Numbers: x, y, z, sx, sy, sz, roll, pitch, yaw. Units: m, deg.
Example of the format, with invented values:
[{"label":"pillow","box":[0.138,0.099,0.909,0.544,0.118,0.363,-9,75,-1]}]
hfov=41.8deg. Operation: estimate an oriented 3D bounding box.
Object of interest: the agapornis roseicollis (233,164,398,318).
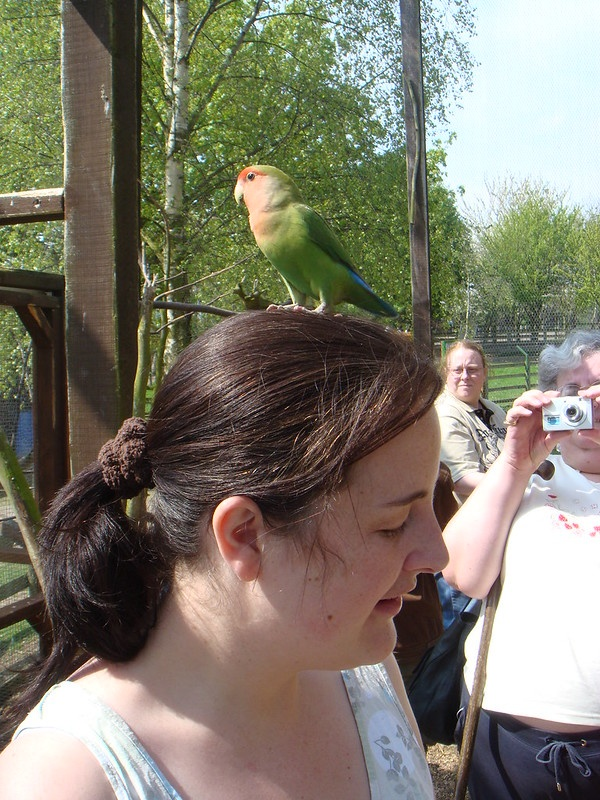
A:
[{"label":"agapornis roseicollis","box":[0.045,-0.600,2.918,0.391,0.537,0.667,-2,11,-27]}]

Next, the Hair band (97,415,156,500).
[{"label":"Hair band","box":[-0.252,0.085,1.109,0.053,0.105,0.086,6,-7,-43]}]

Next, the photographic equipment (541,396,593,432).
[{"label":"photographic equipment","box":[0.636,0.035,1.872,0.120,0.085,0.080,-1,-10,3]}]

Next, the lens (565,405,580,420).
[{"label":"lens","box":[0.649,0.031,1.869,0.034,0.033,0.032,-25,-5,5]}]
